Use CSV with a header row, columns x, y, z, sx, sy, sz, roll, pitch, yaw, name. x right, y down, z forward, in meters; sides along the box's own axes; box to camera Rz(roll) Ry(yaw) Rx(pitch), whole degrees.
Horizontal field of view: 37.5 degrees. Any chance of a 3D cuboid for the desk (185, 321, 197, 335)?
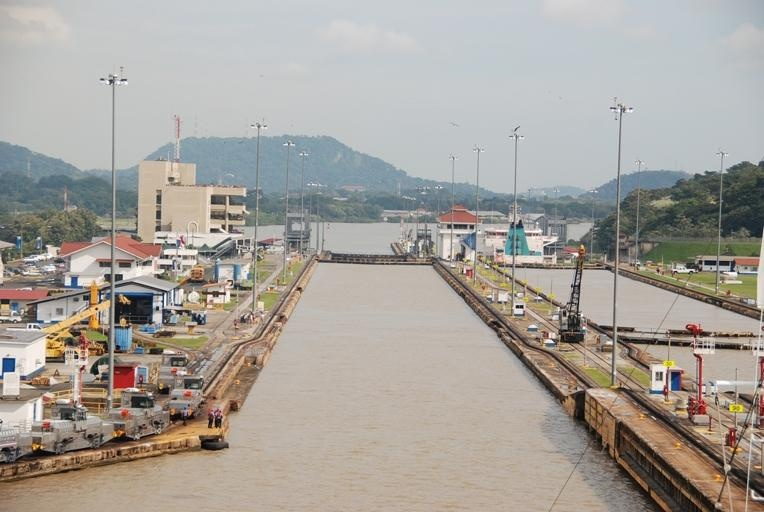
x,y,z,sx,sy,sz,roll,pitch,yaw,name
-14.453,5.391,83.726,0.843,0.763,0.794,0,-3,-12,desk
